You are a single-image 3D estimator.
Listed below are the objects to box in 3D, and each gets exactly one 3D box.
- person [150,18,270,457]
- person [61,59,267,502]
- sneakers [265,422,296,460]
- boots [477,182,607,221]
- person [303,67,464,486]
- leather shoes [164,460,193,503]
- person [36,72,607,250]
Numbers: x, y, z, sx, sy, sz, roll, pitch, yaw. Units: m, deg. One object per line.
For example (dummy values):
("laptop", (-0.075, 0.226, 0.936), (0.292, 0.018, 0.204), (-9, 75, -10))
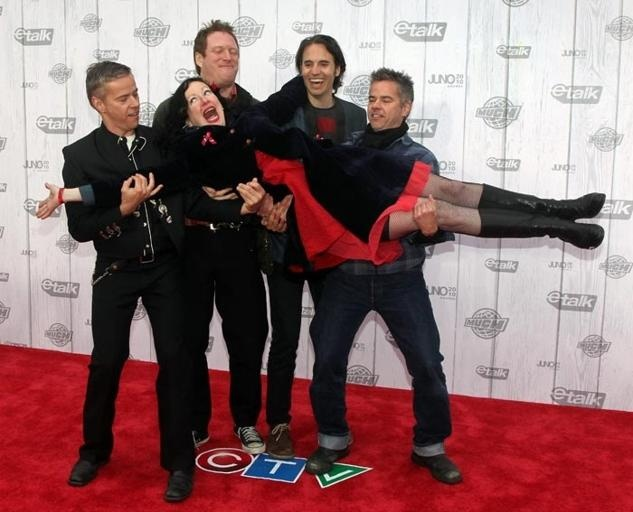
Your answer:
("person", (-0.567, -0.030, 3.125), (0.750, 2.396, 0.689), (1, 27, -8))
("person", (-0.977, 0.108, 2.895), (0.972, 2.262, 0.567), (3, 10, 10))
("sneakers", (-0.228, 1.123, 3.290), (0.157, 0.159, 0.424), (6, -4, -10))
("boots", (1.434, -0.331, 3.304), (0.687, 0.190, 0.167), (9, -38, -12))
("person", (0.403, 0.125, 3.016), (0.878, 2.444, 0.869), (2, 6, 11))
("leather shoes", (-0.730, 1.199, 2.821), (0.157, 0.164, 0.131), (-2, 11, -19))
("person", (0.374, -0.379, 3.270), (2.281, 0.946, 1.393), (3, 0, 5))
